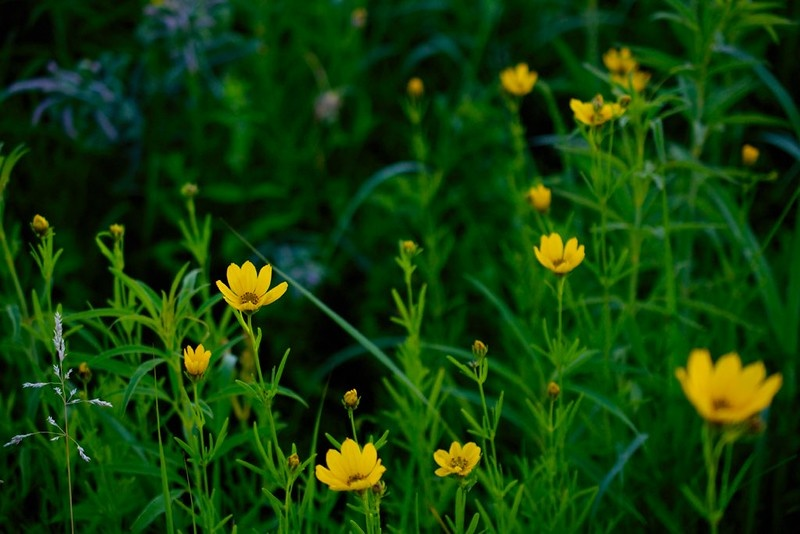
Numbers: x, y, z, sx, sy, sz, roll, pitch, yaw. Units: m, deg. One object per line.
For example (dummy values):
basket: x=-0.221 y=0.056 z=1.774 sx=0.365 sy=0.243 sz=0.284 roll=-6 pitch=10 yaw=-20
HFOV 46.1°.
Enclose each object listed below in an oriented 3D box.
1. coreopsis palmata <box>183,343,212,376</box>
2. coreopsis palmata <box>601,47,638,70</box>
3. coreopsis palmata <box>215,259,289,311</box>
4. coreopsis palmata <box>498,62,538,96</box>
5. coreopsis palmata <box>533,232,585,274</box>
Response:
coreopsis palmata: x=-0.420 y=0.180 z=1.957 sx=0.052 sy=0.070 sz=0.059 roll=-7 pitch=14 yaw=-25
coreopsis palmata: x=0.535 y=-0.497 z=2.280 sx=0.087 sy=0.054 sz=0.089 roll=12 pitch=9 yaw=41
coreopsis palmata: x=-0.303 y=0.028 z=1.970 sx=0.139 sy=0.093 sz=0.147 roll=-8 pitch=21 yaw=3
coreopsis palmata: x=0.288 y=-0.458 z=2.288 sx=0.080 sy=0.075 sz=0.102 roll=-6 pitch=21 yaw=8
coreopsis palmata: x=0.335 y=-0.039 z=2.027 sx=0.098 sy=0.089 sz=0.141 roll=-8 pitch=21 yaw=2
